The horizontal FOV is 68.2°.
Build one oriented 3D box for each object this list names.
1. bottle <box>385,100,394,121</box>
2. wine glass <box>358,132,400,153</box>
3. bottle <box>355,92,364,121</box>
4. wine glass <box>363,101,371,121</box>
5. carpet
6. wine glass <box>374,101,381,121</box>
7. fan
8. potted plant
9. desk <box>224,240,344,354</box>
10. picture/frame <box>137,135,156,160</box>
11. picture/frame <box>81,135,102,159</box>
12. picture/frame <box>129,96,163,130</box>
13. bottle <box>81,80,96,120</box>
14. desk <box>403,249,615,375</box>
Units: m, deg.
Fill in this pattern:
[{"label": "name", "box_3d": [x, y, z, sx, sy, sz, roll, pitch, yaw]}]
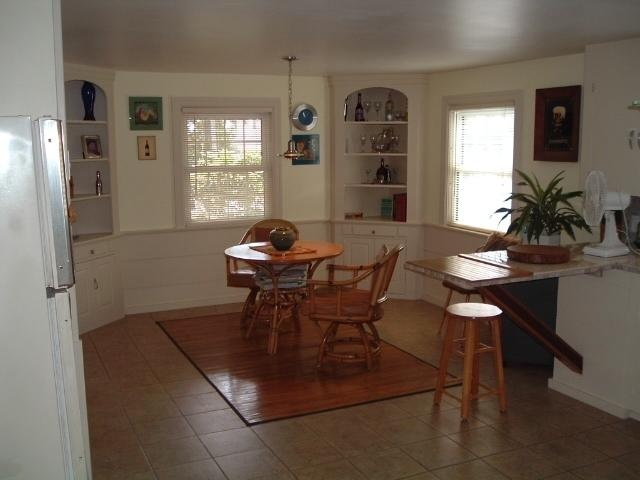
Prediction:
[{"label": "bottle", "box_3d": [0.914, -1.711, 6.267, 0.117, 0.272, 0.232, 1, 10, 8]}, {"label": "wine glass", "box_3d": [0.794, -1.311, 6.361, 0.520, 0.271, 0.245, 1, 10, 7]}, {"label": "bottle", "box_3d": [0.520, -1.766, 6.291, 0.134, 0.404, 0.280, 0, 10, 4]}, {"label": "wine glass", "box_3d": [0.605, -1.701, 6.293, 0.102, 0.230, 0.248, 2, 10, 12]}, {"label": "carpet", "box_3d": [-0.377, 1.084, 4.469, 2.727, 0.080, 1.808, 9, 14, 44]}, {"label": "wine glass", "box_3d": [0.760, -1.721, 6.286, 0.118, 0.270, 0.295, 0, 10, 6]}, {"label": "fan", "box_3d": [2.046, -0.191, 3.371, 0.385, 0.595, 0.241, -7, 12, -34]}, {"label": "potted plant", "box_3d": [1.896, -0.247, 4.146, 0.844, 0.737, 0.806, 1, 1, 11]}, {"label": "desk", "box_3d": [-0.196, 0.594, 4.899, 1.180, 0.832, 1.133, -4, -2, -41]}, {"label": "picture/frame", "box_3d": [-2.113, -1.126, 5.721, 0.288, 0.380, 0.038, -2, 5, -24]}, {"label": "picture/frame", "box_3d": [-2.620, -1.062, 5.402, 0.045, 0.260, 0.256, -8, 10, 34]}, {"label": "picture/frame", "box_3d": [-2.109, -1.534, 5.666, 0.420, 0.422, 0.029, -2, 7, -27]}, {"label": "bottle", "box_3d": [-2.609, -1.565, 5.353, 0.155, 0.437, 0.214, -5, 11, -25]}, {"label": "desk", "box_3d": [1.139, 0.474, 3.417, 0.708, 0.900, 1.408, -11, 17, -39]}]
